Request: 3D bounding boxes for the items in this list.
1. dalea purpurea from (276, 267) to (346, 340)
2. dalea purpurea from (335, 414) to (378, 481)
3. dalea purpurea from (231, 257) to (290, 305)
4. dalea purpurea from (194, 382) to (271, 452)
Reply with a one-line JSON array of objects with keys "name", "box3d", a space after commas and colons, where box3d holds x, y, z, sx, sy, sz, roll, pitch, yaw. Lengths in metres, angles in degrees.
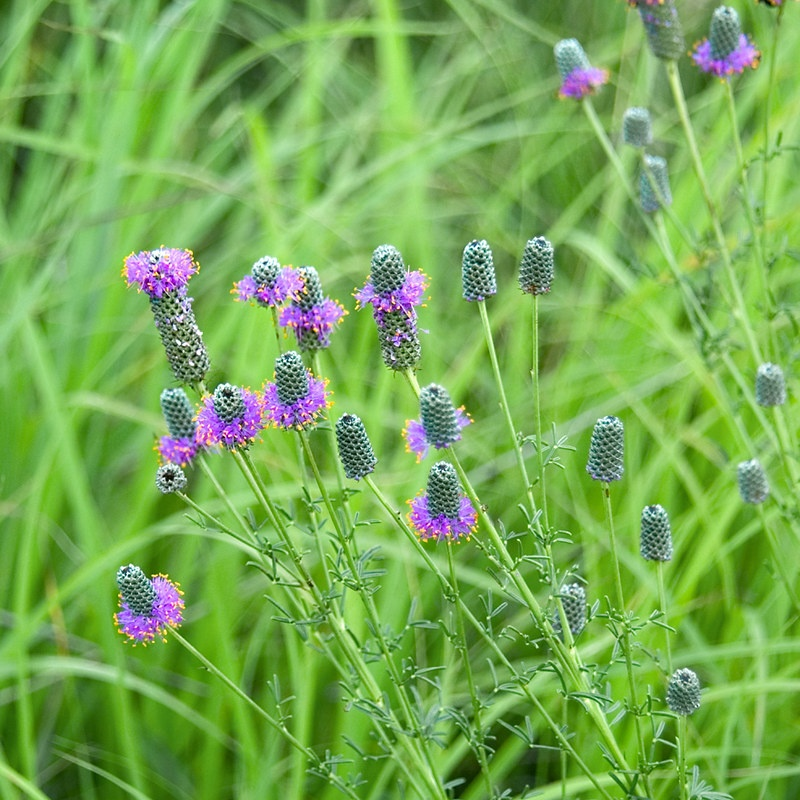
[{"name": "dalea purpurea", "box3d": [-0.236, -0.240, 2.927, 0.182, 0.176, 0.206, -1, 90, -25]}, {"name": "dalea purpurea", "box3d": [-0.112, 0.111, 2.832, 0.078, 0.078, 0.160, -13, 108, 5]}, {"name": "dalea purpurea", "box3d": [-0.360, -0.290, 2.905, 0.109, 0.150, 0.093, -26, 85, -20]}, {"name": "dalea purpurea", "box3d": [-0.391, 0.029, 2.847, 0.161, 0.179, 0.163, -20, 96, 4]}]
